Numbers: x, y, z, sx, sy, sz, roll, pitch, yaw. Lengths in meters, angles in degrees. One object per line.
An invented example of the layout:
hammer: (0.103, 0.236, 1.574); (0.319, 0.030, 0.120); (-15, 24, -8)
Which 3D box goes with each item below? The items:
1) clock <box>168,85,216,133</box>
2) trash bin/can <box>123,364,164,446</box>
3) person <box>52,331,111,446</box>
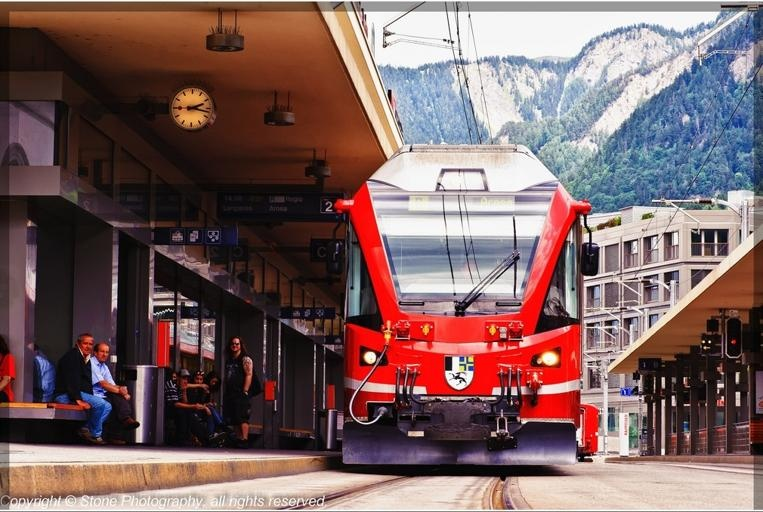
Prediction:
clock: (-4.629, -3.601, 36.425); (1.172, 1.077, 0.264); (10, -8, 0)
trash bin/can: (-5.485, 3.424, 34.776); (0.837, 1.757, 1.222); (2, -9, -8)
person: (-6.610, 2.869, 33.341); (1.252, 2.293, 1.051); (0, -3, 7)
